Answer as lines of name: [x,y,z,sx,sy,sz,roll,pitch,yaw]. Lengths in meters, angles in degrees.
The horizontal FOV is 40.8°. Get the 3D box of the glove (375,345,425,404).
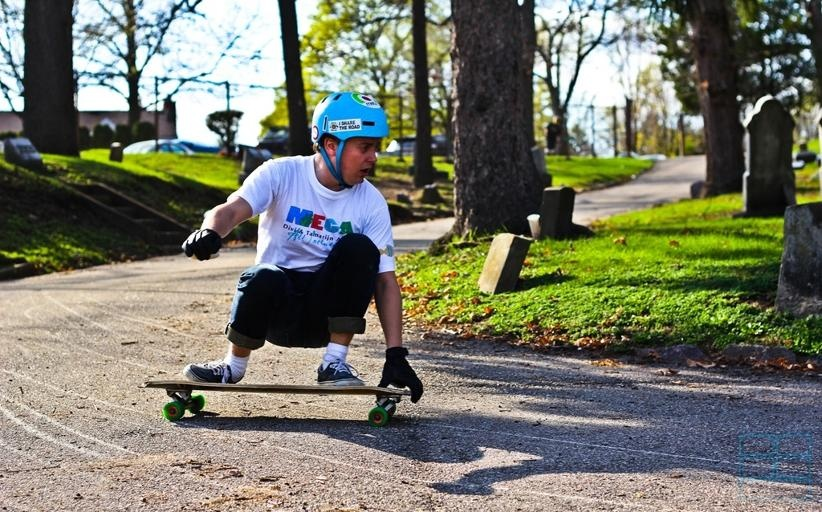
glove: [-0.164,1.498,13.883,0.543,0.711,0.260,-2,5,-3]
